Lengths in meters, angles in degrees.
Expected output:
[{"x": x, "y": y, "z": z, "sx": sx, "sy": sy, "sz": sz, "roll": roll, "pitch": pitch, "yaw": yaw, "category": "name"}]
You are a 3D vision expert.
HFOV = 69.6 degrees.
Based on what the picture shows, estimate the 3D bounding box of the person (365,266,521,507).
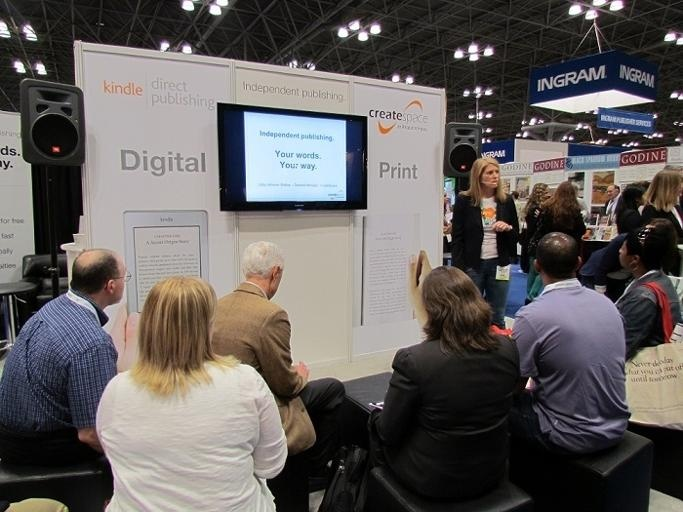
[{"x": 0.516, "y": 0.691, "z": 2.590, "sx": 0.586, "sy": 1.464, "sz": 0.840, "roll": -11, "pitch": 22, "yaw": -5, "category": "person"}]

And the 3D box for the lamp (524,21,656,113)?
[{"x": 4.080, "y": -2.895, "z": 8.382, "sx": 1.416, "sy": 0.680, "sz": 1.339, "roll": 2, "pitch": 1, "yaw": -34, "category": "lamp"}]

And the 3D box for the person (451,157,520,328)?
[{"x": 1.291, "y": 0.053, "z": 4.423, "sx": 0.535, "sy": 1.862, "sz": 0.484, "roll": -1, "pitch": 15, "yaw": 10, "category": "person"}]

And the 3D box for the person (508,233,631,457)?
[{"x": 1.209, "y": 0.466, "z": 2.615, "sx": 0.582, "sy": 1.146, "sz": 0.336, "roll": 2, "pitch": 5, "yaw": 28, "category": "person"}]
